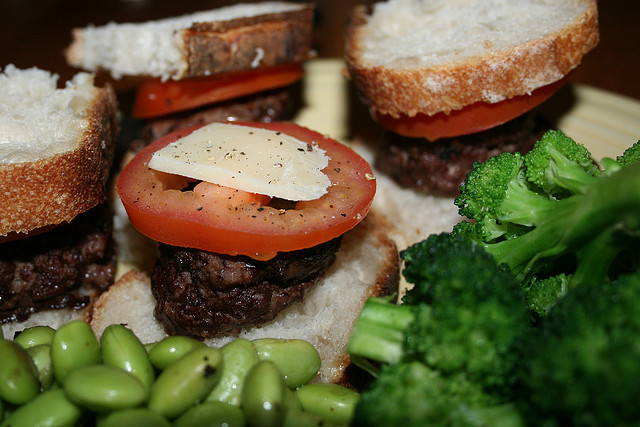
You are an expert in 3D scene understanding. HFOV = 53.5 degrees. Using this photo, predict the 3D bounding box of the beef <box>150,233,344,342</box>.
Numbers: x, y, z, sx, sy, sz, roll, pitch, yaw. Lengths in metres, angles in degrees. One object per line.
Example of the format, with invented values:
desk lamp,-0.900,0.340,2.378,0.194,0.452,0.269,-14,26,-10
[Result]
beef,-0.393,0.369,3.081,0.831,0.562,0.501,-9,12,-36

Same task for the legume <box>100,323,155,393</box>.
legume,-0.840,0.609,2.803,0.333,0.158,0.146,58,15,6

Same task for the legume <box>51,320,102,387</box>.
legume,-1.041,0.574,2.706,0.171,0.284,0.145,-9,-2,-28

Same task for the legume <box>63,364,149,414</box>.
legume,-0.870,0.707,2.575,0.264,0.096,0.194,15,41,8

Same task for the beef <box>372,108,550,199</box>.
beef,0.807,-0.393,3.964,1.142,0.542,0.489,-17,22,-28

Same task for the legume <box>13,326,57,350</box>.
legume,-1.298,0.547,2.858,0.125,0.079,0.112,-2,9,-11

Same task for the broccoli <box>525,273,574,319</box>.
broccoli,1.038,0.357,2.866,0.219,0.205,0.174,3,20,15

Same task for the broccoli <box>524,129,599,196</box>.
broccoli,1.155,-0.229,2.985,0.327,0.187,0.314,38,61,21

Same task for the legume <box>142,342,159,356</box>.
legume,-0.759,0.603,2.852,0.048,0.020,0.056,-7,11,4

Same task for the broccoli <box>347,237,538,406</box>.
broccoli,0.561,0.471,2.833,0.358,0.742,0.669,-14,76,-63

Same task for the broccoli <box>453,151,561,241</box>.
broccoli,0.898,-0.054,3.055,0.364,0.193,0.411,-46,39,-14
